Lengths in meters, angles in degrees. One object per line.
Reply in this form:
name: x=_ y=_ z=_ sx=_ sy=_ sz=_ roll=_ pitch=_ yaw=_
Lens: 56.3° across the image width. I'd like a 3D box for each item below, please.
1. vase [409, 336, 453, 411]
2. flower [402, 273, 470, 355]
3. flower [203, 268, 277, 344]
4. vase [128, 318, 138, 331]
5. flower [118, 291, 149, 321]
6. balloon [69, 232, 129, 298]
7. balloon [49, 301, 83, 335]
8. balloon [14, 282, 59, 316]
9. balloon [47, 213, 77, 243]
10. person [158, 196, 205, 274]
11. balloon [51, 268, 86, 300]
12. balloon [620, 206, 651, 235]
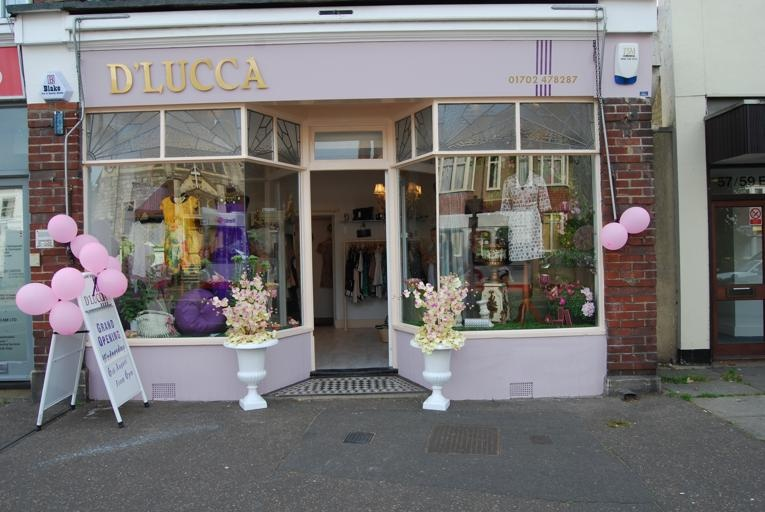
vase: x=0.740 y=1.696 z=9.915 sx=0.400 sy=0.857 sz=0.330 roll=-2 pitch=4 yaw=1
flower: x=0.761 y=0.829 z=10.208 sx=0.720 sy=1.268 sz=0.749 roll=-1 pitch=1 yaw=4
flower: x=-1.962 y=0.767 z=10.259 sx=0.846 sy=0.953 sz=0.819 roll=-3 pitch=4 yaw=-9
vase: x=-3.629 y=1.019 z=10.467 sx=0.149 sy=0.164 sz=0.146 roll=-3 pitch=1 yaw=2
flower: x=-3.641 y=0.743 z=10.464 sx=0.407 sy=0.404 sz=0.194 roll=-18 pitch=7 yaw=-41
balloon: x=-3.887 y=0.180 z=9.832 sx=0.596 sy=1.111 sz=0.661 roll=3 pitch=-2 yaw=-11
balloon: x=-4.158 y=0.823 z=9.399 sx=0.411 sy=0.478 sz=0.404 roll=-8 pitch=-2 yaw=-15
balloon: x=-4.515 y=0.561 z=9.340 sx=0.594 sy=0.511 sz=0.588 roll=-1 pitch=9 yaw=-35
balloon: x=-4.416 y=-0.377 z=9.925 sx=0.365 sy=0.377 sz=0.246 roll=-6 pitch=6 yaw=-42
person: x=-3.016 y=-0.330 z=10.679 sx=0.640 sy=1.173 sz=0.195 roll=-2 pitch=-7 yaw=5
balloon: x=-4.023 y=0.337 z=9.323 sx=0.398 sy=0.403 sz=0.478 roll=10 pitch=8 yaw=16
balloon: x=3.555 y=-0.515 z=10.110 sx=0.371 sy=0.348 sz=0.163 roll=-1 pitch=4 yaw=18
